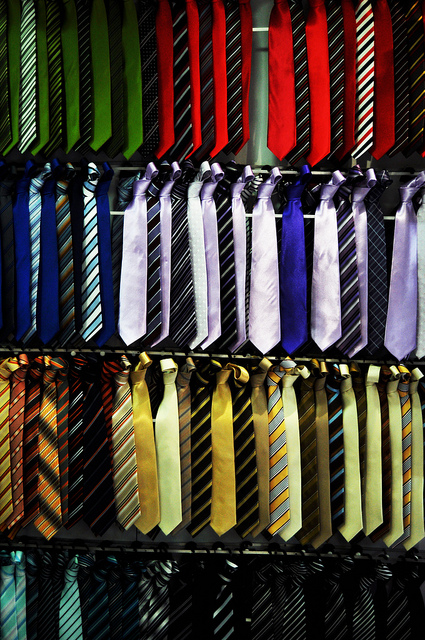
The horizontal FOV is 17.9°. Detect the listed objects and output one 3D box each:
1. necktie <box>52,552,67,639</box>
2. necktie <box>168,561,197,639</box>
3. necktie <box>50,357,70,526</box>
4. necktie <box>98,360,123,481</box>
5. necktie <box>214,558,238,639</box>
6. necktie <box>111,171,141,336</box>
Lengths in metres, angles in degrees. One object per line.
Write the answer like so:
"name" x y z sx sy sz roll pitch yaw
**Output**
"necktie" -0.531 0.977 4.678 0.051 0.030 0.264 3 -97 -11
"necktie" -0.106 0.992 4.732 0.091 0.234 0.151 5 -57 -6
"necktie" -0.520 0.430 4.687 0.065 0.122 0.568 -2 -98 -16
"necktie" -0.353 0.334 4.692 0.075 0.059 0.375 -2 -88 36
"necktie" 0.041 0.983 4.714 0.071 0.231 0.168 4 -57 -6
"necktie" -0.297 -0.226 4.691 0.085 0.077 0.609 0 -85 -9
